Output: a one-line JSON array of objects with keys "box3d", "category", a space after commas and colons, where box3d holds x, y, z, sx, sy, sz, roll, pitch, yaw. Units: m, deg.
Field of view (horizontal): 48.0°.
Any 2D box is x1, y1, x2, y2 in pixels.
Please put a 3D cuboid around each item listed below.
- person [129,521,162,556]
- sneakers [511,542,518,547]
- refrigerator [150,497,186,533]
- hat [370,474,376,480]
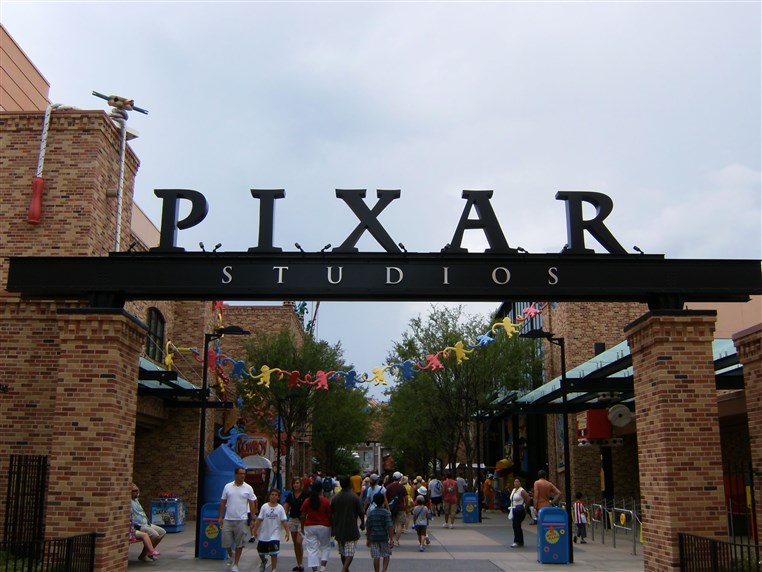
[{"box3d": [-5.908, 6.256, 21.265, 0.711, 0.867, 0.995, 5, -18, -13], "category": "person"}, {"box3d": [3.805, 7.344, 24.372, 0.068, 0.083, 0.193, -14, -34, 31], "category": "sneakers"}, {"box3d": [-7.034, 7.497, 28.409, 1.041, 1.162, 1.068, 0, -8, 1], "category": "refrigerator"}, {"box3d": [-0.258, 5.998, 26.902, 0.193, 0.247, 0.253, 3, -2, -2], "category": "hat"}]
